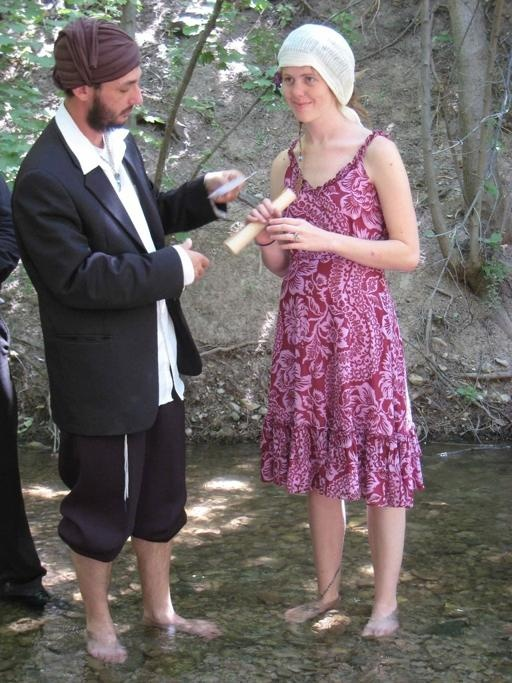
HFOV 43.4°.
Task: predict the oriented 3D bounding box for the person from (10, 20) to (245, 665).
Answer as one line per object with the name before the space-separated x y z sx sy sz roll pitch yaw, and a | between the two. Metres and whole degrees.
person | -0.429 0.038 2.311 0.524 2.199 0.730 3 9 25

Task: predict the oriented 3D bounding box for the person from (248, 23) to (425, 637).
person | 0.309 -0.028 2.447 0.646 2.245 0.451 1 8 13
